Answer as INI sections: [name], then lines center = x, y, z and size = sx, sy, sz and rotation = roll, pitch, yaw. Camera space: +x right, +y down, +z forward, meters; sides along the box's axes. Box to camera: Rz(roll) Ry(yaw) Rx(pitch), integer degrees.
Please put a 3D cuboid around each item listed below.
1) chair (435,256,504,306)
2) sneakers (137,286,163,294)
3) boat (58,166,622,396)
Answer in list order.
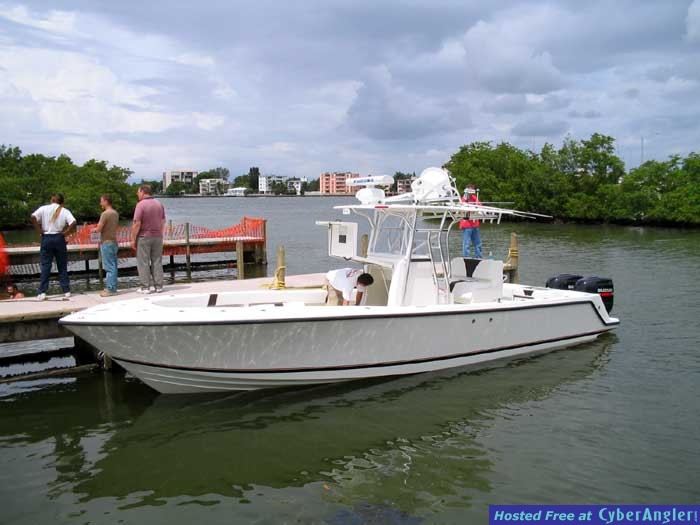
[chair]
center = 2.175, 0.360, 10.531
size = 0.858, 0.753, 1.170
rotation = 1, -1, -27
[sneakers]
center = -4.059, 0.556, 11.484
size = 0.536, 0.198, 0.185
rotation = 2, 4, 6
[boat]
center = -0.227, 0.262, 11.084
size = 11.362, 4.136, 3.433
rotation = -3, 5, -23
